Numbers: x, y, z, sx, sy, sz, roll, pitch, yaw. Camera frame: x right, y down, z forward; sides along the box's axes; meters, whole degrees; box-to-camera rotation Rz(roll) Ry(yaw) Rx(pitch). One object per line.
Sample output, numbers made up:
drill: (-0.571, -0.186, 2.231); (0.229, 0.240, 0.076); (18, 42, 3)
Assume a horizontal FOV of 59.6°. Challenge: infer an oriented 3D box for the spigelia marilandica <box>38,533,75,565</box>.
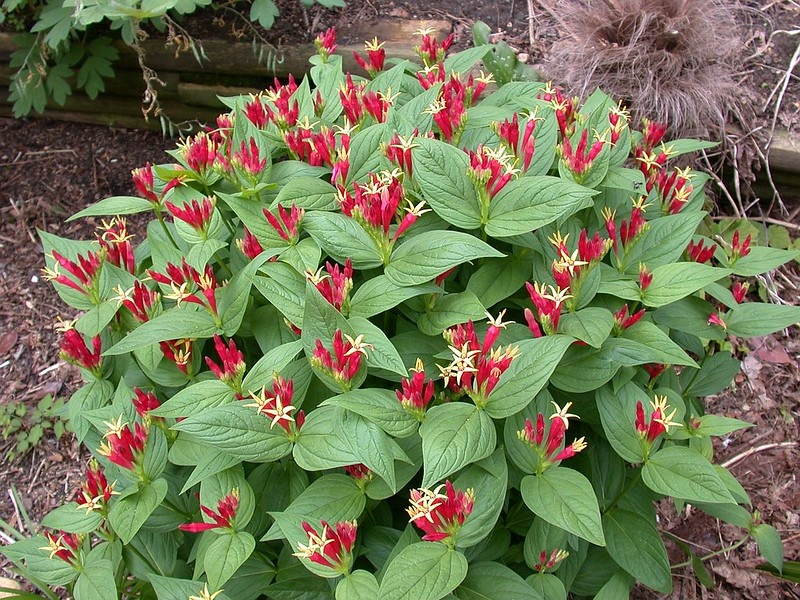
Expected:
spigelia marilandica: (-1.457, 1.067, 2.983); (0.079, 0.133, 0.107); (11, 67, 0)
